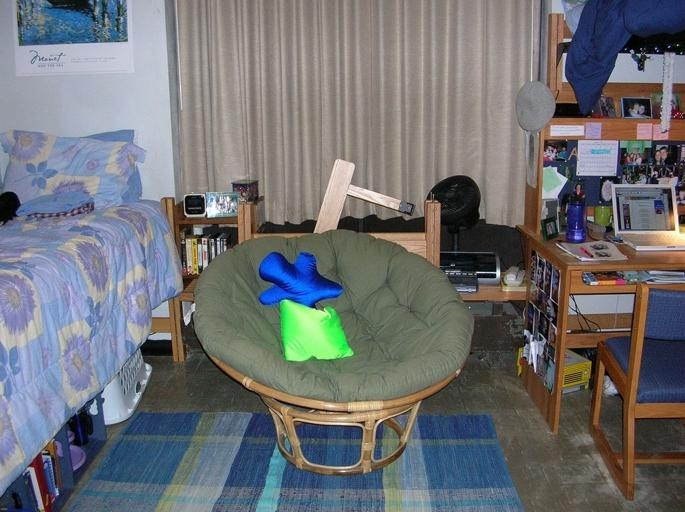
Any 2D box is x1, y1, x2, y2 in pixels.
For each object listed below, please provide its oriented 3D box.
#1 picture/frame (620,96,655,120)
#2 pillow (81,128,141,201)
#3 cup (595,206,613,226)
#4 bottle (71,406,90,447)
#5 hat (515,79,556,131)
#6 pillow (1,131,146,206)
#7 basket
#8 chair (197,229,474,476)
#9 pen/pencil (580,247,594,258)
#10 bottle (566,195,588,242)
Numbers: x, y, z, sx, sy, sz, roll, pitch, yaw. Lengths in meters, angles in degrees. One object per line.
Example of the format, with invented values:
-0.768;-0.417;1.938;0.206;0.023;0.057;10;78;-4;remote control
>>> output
1.827;-0.911;3.288;0.164;0.120;0.016;2;-3;0;picture/frame
-1.479;-0.610;3.536;0.467;0.464;0.144;-2;-8;22;pillow
1.581;-0.243;3.274;0.110;0.126;0.110;0;3;0;cup
-1.377;0.900;2.787;0.124;0.175;0.061;-5;5;-40;bottle
1.160;-0.899;3.199;0.069;0.299;0.288;-8;11;-43;hat
-1.699;-0.559;3.322;0.621;0.197;0.638;9;47;-6;pillow
-1.260;0.671;3.072;0.269;0.279;0.538;-4;12;-2;basket
-0.023;0.369;2.755;1.205;0.770;1.214;-6;29;-14;chair
1.328;-0.014;2.878;0.018;0.026;0.097;40;16;-6;pen/pencil
1.365;-0.197;3.097;0.107;0.223;0.181;5;15;24;bottle
